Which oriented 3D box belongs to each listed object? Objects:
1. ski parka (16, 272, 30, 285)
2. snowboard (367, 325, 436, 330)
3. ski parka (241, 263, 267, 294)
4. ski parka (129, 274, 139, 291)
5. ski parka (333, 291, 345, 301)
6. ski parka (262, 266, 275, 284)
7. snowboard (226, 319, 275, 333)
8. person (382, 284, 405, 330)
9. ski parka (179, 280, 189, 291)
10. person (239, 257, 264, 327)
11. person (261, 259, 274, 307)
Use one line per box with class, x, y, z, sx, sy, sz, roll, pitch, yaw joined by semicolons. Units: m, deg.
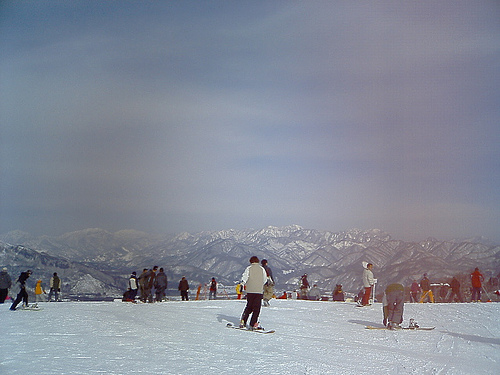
ski parka;-10.091;3.995;21.792;0.441;0.672;0.227;8;-13;25
snowboard;5.888;5.544;19.454;3.178;0.279;0.392;1;-15;-3
ski parka;0.128;3.184;17.075;0.881;1.094;0.529;-3;-2;-10
ski parka;-7.154;5.801;30.116;0.447;1.079;1.132;-3;-3;-6
ski parka;6.360;7.805;35.307;0.946;1.064;0.546;-1;3;7
ski parka;1.062;4.558;26.615;0.335;0.667;1.106;-18;-57;24
snowboard;-0.025;4.919;17.616;2.152;0.482;0.635;-6;-4;44
person;5.610;4.646;18.938;0.795;1.975;0.583;1;-51;22
ski parka;-4.900;7.258;36.228;0.956;1.066;0.553;0;-7;8
person;0.096;3.709;17.275;0.800;2.470;0.910;-3;-2;-2
person;0.810;5.244;26.938;0.821;2.787;0.845;-6;20;-6
